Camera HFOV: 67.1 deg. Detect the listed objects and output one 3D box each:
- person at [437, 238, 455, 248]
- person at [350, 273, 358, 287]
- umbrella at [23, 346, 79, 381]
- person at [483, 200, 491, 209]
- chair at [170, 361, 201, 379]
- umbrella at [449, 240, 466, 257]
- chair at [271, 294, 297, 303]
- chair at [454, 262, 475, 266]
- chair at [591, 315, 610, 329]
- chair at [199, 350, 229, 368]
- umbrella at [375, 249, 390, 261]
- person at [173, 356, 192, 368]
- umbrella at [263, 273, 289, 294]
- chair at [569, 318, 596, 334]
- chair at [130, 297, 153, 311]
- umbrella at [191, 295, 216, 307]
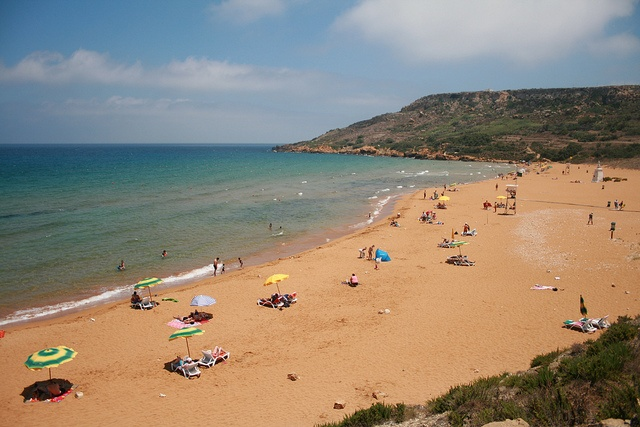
[{"bbox_3d":[11.306,2.679,43.042,0.972,0.395,1.211,3,1,36],"label":"person"},{"bbox_3d":[2.449,5.005,35.686,0.608,0.740,0.635,-2,8,2],"label":"person"},{"bbox_3d":[-15.092,8.450,27.397,2.227,1.267,1.730,3,17,3],"label":"umbrella"},{"bbox_3d":[19.554,-0.973,56.744,1.069,0.384,1.123,-2,-22,6],"label":"person"},{"bbox_3d":[-7.801,9.048,28.303,0.937,0.527,1.559,0,9,-43],"label":"chair"},{"bbox_3d":[11.677,2.855,41.137,1.520,1.035,1.378,3,5,31],"label":"umbrella"},{"bbox_3d":[-2.534,5.902,33.930,1.872,0.506,0.823,0,16,-5],"label":"chair"},{"bbox_3d":[11.347,3.879,38.246,1.630,0.445,0.457,0,8,12],"label":"chair"},{"bbox_3d":[17.414,6.628,29.988,0.866,0.415,1.218,-3,17,27],"label":"chair"},{"bbox_3d":[-6.360,8.629,28.901,1.750,0.590,0.888,-9,13,-44],"label":"chair"},{"bbox_3d":[5.168,3.478,39.663,1.158,0.920,1.239,1,8,14],"label":"umbrella"},{"bbox_3d":[-8.188,8.822,28.483,1.093,0.226,0.959,2,8,24],"label":"person"},{"bbox_3d":[-3.004,4.956,34.559,2.008,1.180,1.667,-11,-9,15],"label":"umbrella"},{"bbox_3d":[16.214,6.982,30.019,0.897,0.326,1.187,-7,7,-35],"label":"chair"},{"bbox_3d":[-12.708,6.385,34.213,1.509,0.516,0.834,-1,2,36],"label":"chair"},{"bbox_3d":[-7.729,5.769,31.754,1.241,0.322,1.074,1,2,-28],"label":"umbrella"}]
